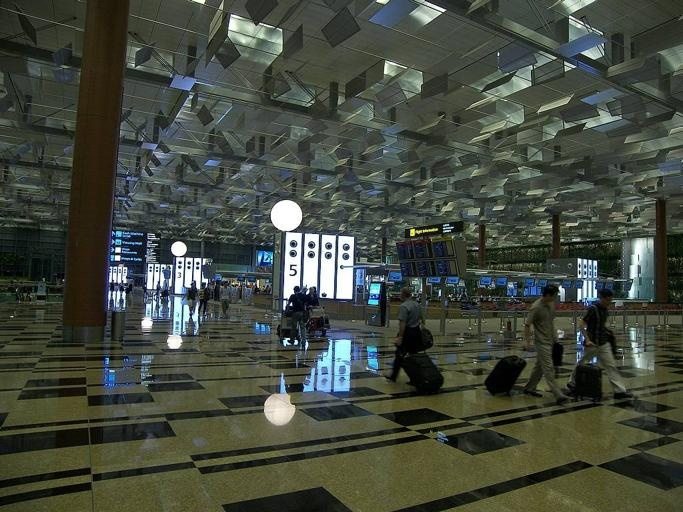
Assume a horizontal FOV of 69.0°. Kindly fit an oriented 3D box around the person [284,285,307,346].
[{"bbox_3d":[-1.302,1.671,14.063,0.572,1.583,1.405,1,-4,-5],"label":"person"}]

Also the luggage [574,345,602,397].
[{"bbox_3d":[4.199,2.011,8.529,0.455,0.862,0.725,-1,-4,22],"label":"luggage"}]

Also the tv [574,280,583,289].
[{"bbox_3d":[16.209,1.928,34.125,0.965,0.624,0.404,0,2,-24],"label":"tv"}]

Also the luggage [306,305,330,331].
[{"bbox_3d":[-0.755,2.071,16.472,0.813,0.520,1.041,0,-4,-10],"label":"luggage"}]

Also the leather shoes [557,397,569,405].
[{"bbox_3d":[3.611,2.350,8.134,0.181,0.127,0.328,-1,-3,24],"label":"leather shoes"}]

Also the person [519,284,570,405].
[{"bbox_3d":[3.394,1.435,8.357,0.649,1.916,1.255,-1,-4,19],"label":"person"}]

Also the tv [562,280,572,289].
[{"bbox_3d":[15.234,1.940,33.749,0.954,0.630,0.553,0,-4,7],"label":"tv"}]

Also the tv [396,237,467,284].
[{"bbox_3d":[3.354,0.161,18.586,1.094,1.553,4.283,-3,0,-30],"label":"tv"}]

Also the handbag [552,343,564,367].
[{"bbox_3d":[3.665,1.684,8.450,0.149,0.453,0.564,-1,-4,24],"label":"handbag"}]
